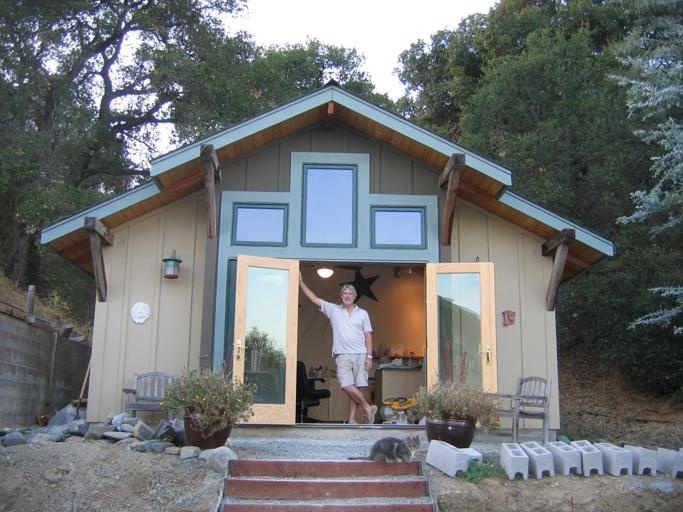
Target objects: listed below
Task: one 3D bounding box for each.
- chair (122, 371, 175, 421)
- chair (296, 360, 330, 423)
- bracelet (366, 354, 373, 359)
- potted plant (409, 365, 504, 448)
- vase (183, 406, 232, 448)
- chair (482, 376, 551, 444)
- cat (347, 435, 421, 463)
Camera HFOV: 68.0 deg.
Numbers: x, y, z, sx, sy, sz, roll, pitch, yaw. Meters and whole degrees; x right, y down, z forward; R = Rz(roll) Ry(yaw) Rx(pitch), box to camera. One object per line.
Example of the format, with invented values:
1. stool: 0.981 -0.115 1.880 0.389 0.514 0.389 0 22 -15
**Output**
1. chair: -2.836 2.156 7.483 0.613 0.926 0.588 3 -18 -15
2. chair: -0.668 2.631 9.965 0.699 1.259 0.850 1 -5 -27
3. bracelet: 0.431 1.565 7.865 0.073 0.065 0.206 -3 -17 15
4. potted plant: 1.426 2.033 6.621 0.897 0.976 0.920 -8 -15 41
5. vase: -1.643 2.074 6.224 0.578 0.448 0.612 -14 -30 23
6. chair: 2.663 2.279 7.392 0.694 0.907 0.750 -12 -17 13
7. cat: 0.436 2.241 5.745 0.513 0.201 0.575 16 -35 -29
